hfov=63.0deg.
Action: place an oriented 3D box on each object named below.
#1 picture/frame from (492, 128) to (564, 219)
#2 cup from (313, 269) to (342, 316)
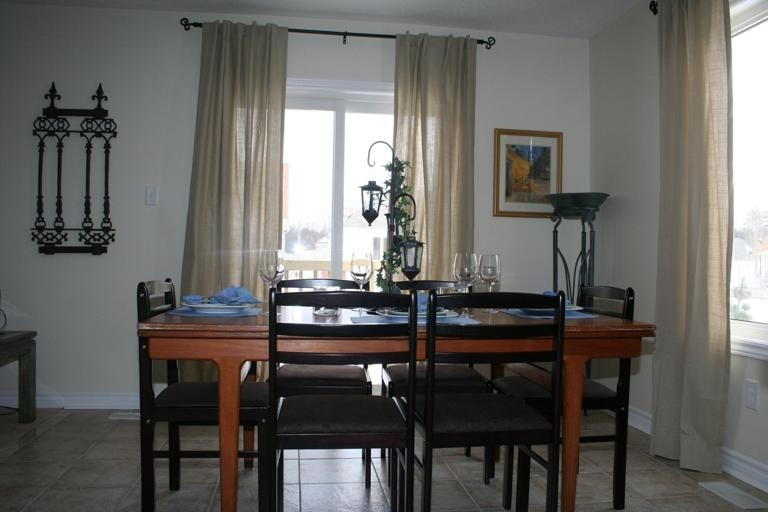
[{"bbox_3d":[1.199,-0.690,5.356,0.748,0.964,0.034,1,-3,-10],"label":"picture/frame"},{"bbox_3d":[-0.365,0.260,3.927,0.193,0.301,0.206,1,0,0],"label":"cup"}]
